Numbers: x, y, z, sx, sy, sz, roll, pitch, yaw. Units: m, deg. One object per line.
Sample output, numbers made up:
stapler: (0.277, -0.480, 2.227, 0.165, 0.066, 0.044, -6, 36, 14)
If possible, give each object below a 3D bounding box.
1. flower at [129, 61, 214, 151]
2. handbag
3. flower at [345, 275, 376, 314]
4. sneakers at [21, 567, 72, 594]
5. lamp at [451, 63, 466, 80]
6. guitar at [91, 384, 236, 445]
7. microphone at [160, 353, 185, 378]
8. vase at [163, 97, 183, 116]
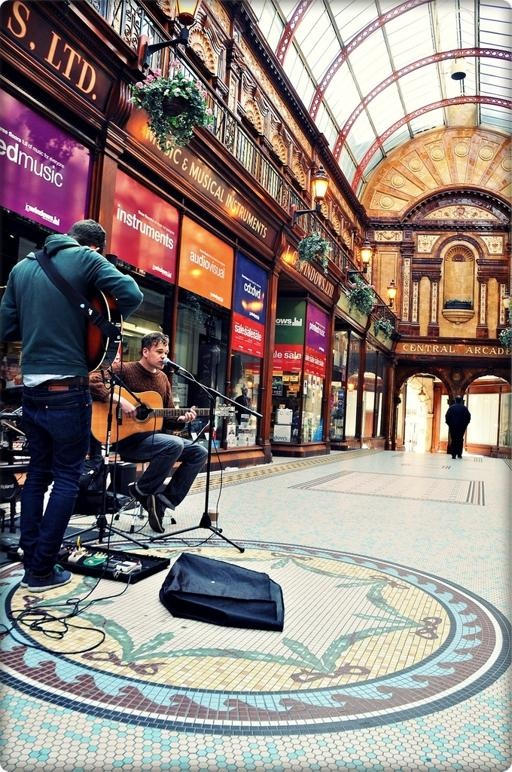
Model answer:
flower: (-0.836, -2.721, 5.566, 0.797, 0.926, 0.781, 1, -2, 0)
handbag: (-0.151, 0.911, 2.465, 0.565, 0.165, 0.528, 4, -3, 3)
flower: (3.065, -2.839, 16.343, 0.838, 1.045, 0.590, 15, -13, -14)
sneakers: (-0.943, 0.887, 2.561, 0.091, 0.114, 0.262, 3, 0, 26)
lamp: (7.521, -11.813, 20.453, 0.483, 0.536, 0.545, 2, -4, 22)
guitar: (-0.610, 0.112, 3.959, 0.918, 0.127, 0.424, 9, -14, 19)
microphone: (-0.808, -0.202, 5.341, 0.162, 0.170, 0.557, 29, 3, -25)
vase: (-0.793, -2.733, 5.360, 0.209, 0.129, 0.187, 5, -4, -13)
